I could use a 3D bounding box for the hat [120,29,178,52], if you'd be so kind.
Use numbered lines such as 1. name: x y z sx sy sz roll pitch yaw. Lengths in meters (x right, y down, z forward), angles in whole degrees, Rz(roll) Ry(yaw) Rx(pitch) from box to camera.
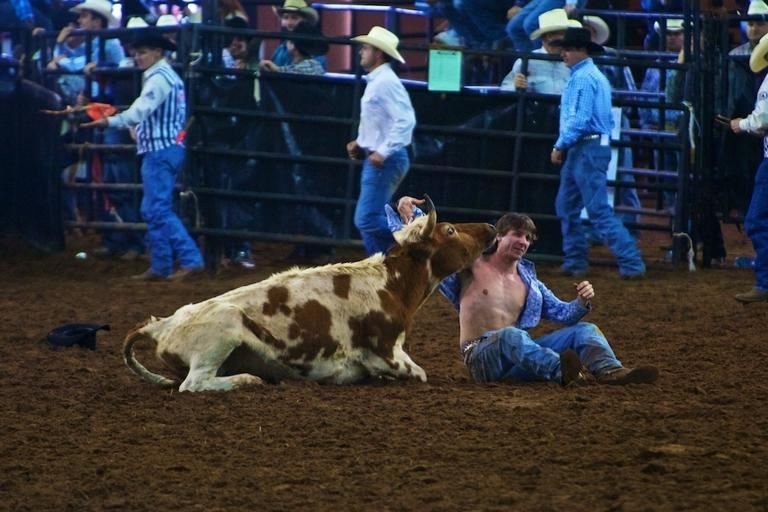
1. hat: -2.957 -2.694 16.766 0.623 0.206 0.537 -2 5 -10

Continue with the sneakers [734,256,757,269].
1. sneakers: 4.634 0.076 17.155 0.317 0.100 0.219 -1 26 11

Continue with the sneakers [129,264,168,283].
1. sneakers: -2.950 0.204 16.590 0.565 0.212 0.172 -4 20 -3

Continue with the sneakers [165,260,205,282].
1. sneakers: -2.493 0.194 16.638 0.521 0.196 0.167 -10 11 -27

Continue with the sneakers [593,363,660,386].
1. sneakers: 2.341 1.118 12.876 0.652 0.242 0.204 4 -3 11

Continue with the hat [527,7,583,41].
1. hat: 2.148 -2.906 16.978 0.528 0.193 0.425 -15 3 33

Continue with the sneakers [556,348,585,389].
1. sneakers: 1.776 1.066 12.778 0.176 0.423 0.195 -14 6 4

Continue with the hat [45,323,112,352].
1. hat: -3.245 0.832 13.940 0.645 0.229 0.429 -2 7 -8

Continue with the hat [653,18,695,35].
1. hat: 4.119 -3.303 19.213 0.579 0.152 0.575 3 6 34

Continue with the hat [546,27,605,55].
1. hat: 2.347 -2.637 16.258 0.606 0.307 0.407 -1 7 -1

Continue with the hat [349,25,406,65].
1. hat: 0.007 -2.507 16.104 0.428 0.209 0.546 25 -2 44
